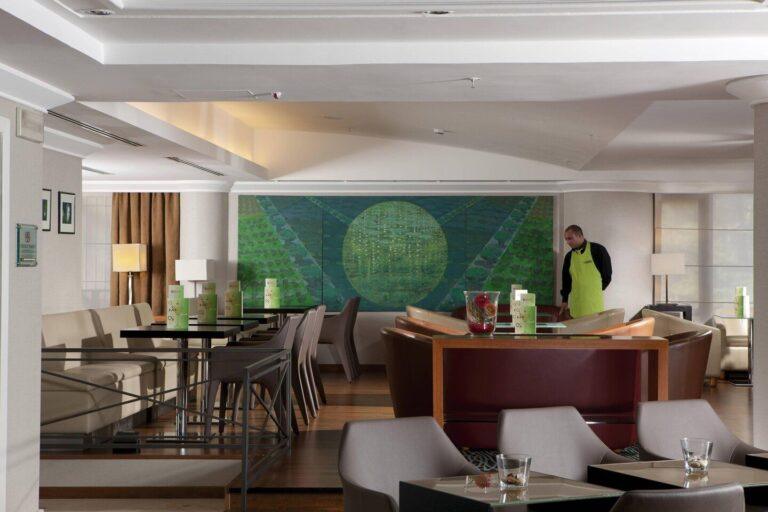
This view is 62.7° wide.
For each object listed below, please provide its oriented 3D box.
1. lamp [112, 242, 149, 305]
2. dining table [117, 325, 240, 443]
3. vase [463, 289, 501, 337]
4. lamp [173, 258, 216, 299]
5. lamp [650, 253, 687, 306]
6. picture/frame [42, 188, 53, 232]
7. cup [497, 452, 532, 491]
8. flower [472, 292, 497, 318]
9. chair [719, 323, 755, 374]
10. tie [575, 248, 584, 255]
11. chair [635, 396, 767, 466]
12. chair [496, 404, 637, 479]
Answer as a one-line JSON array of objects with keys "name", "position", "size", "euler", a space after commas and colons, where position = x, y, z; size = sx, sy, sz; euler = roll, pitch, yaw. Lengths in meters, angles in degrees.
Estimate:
[{"name": "lamp", "position": [-3.781, 0.246, 9.362], "size": [0.472, 0.912, 0.563], "euler": [-1, -4, -21]}, {"name": "dining table", "position": [-1.830, 1.173, 6.147], "size": [1.331, 1.061, 1.221], "euler": [0, -4, 2]}, {"name": "vase", "position": [0.805, 0.482, 5.105], "size": [0.325, 0.306, 0.324], "euler": [-6, -9, 43]}, {"name": "lamp", "position": [-2.784, 0.322, 9.301], "size": [0.573, 0.578, 0.472], "euler": [-1, -3, -15]}, {"name": "lamp", "position": [4.072, 0.322, 9.082], "size": [0.437, 0.716, 0.593], "euler": [-3, -4, 20]}, {"name": "picture/frame", "position": [-3.484, -0.466, 6.513], "size": [0.085, 0.437, 0.170], "euler": [-1, -4, -26]}, {"name": "cup", "position": [0.620, 1.027, 3.014], "size": [0.190, 0.124, 0.157], "euler": [0, -9, 15]}, {"name": "flower", "position": [0.807, 0.391, 5.046], "size": [0.203, 0.200, 0.161], "euler": [-2, -3, 1]}, {"name": "chair", "position": [4.731, 1.213, 8.498], "size": [0.376, 0.721, 1.167], "euler": [-4, -4, 27]}, {"name": "tie", "position": [2.481, -0.056, 7.991], "size": [0.081, 0.041, 0.096], "euler": [-6, -32, 5]}, {"name": "chair", "position": [1.840, 1.065, 3.901], "size": [0.579, 0.576, 0.501], "euler": [2, -12, -11]}, {"name": "chair", "position": [1.013, 1.055, 3.822], "size": [0.580, 0.611, 0.545], "euler": [4, -12, -22]}]
